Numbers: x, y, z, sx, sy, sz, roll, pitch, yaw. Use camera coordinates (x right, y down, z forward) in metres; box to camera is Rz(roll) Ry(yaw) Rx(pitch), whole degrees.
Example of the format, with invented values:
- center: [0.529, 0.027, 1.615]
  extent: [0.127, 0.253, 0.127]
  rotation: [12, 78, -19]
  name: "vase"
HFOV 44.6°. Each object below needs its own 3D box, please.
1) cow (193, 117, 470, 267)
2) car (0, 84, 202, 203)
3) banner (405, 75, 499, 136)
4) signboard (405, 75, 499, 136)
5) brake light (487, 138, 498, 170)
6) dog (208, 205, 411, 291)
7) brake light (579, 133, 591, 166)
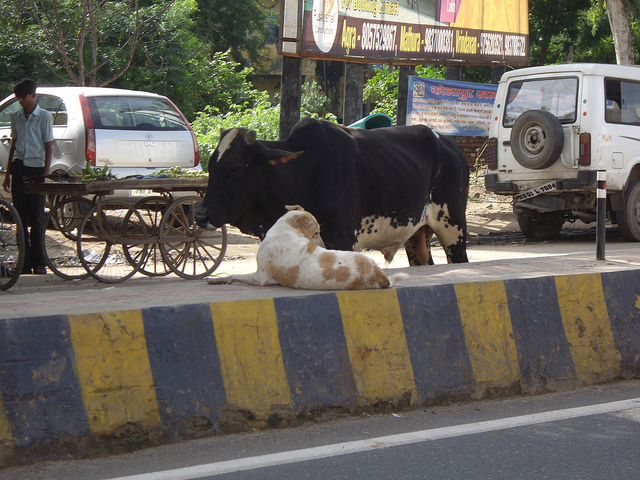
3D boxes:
- center: [0.279, -0.247, 8.269]
  extent: [3.469, 2.016, 0.929]
  rotation: [0, 3, -35]
  name: "cow"
- center: [-3.251, -1.619, 11.251]
  extent: [1.566, 1.356, 2.746]
  rotation: [-1, 12, -42]
  name: "car"
- center: [2.807, -2.840, 16.560]
  extent: [2.382, 1.312, 0.291]
  rotation: [-8, 13, -32]
  name: "banner"
- center: [2.929, -2.839, 16.595]
  extent: [2.201, 1.175, 0.023]
  rotation: [2, -5, -16]
  name: "signboard"
- center: [3.054, -1.531, 13.749]
  extent: [0.205, 0.549, 0.104]
  rotation: [5, 12, 27]
  name: "brake light"
- center: [-0.051, 0.096, 6.622]
  extent: [1.714, 0.760, 0.617]
  rotation: [3, -5, 21]
  name: "dog"
- center: [4.249, -1.457, 12.471]
  extent: [0.191, 0.515, 0.117]
  rotation: [4, 12, 20]
  name: "brake light"
